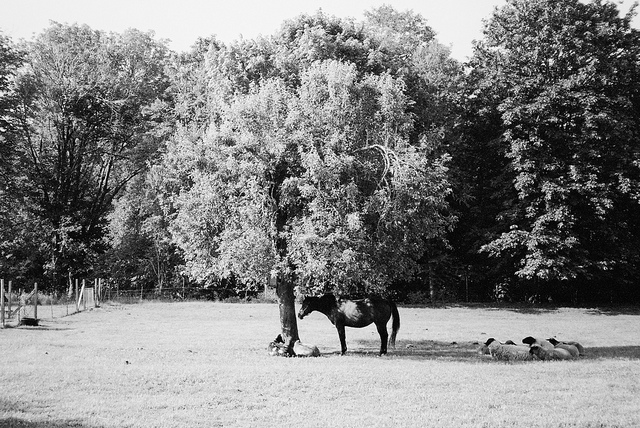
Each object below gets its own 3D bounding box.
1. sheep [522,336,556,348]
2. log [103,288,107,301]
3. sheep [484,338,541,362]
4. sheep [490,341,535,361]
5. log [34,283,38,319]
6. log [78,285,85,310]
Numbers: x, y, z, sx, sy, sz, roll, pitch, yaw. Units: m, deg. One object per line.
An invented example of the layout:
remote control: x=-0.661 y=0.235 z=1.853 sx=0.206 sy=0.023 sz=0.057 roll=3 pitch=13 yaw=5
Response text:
sheep: x=10.427 y=6.136 z=35.025 sx=0.971 sy=0.315 sz=0.547 roll=10 pitch=-31 yaw=22
log: x=-17.580 y=6.498 z=59.696 sx=0.190 sy=1.083 sz=1.367 roll=2 pitch=-11 yaw=-13
sheep: x=8.919 y=6.336 z=33.905 sx=2.269 sy=1.306 sz=0.816 roll=-6 pitch=-13 yaw=30
sheep: x=8.970 y=6.428 z=34.282 sx=1.920 sy=1.101 sz=0.682 roll=3 pitch=-6 yaw=27
log: x=-16.114 y=5.068 z=41.390 sx=0.078 sy=1.586 sz=1.229 roll=3 pitch=-10 yaw=-17
log: x=-17.453 y=5.909 z=53.339 sx=0.120 sy=2.477 sz=0.320 roll=5 pitch=-2 yaw=18
